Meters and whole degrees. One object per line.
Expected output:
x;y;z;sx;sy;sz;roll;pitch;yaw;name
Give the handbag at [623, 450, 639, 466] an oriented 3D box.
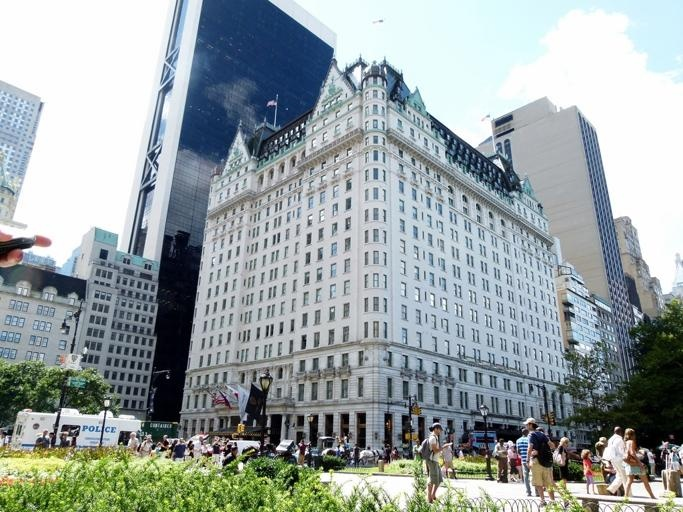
11.300;7.939;19.506;0.507;0.484;0.298;-10;-27;24;handbag
